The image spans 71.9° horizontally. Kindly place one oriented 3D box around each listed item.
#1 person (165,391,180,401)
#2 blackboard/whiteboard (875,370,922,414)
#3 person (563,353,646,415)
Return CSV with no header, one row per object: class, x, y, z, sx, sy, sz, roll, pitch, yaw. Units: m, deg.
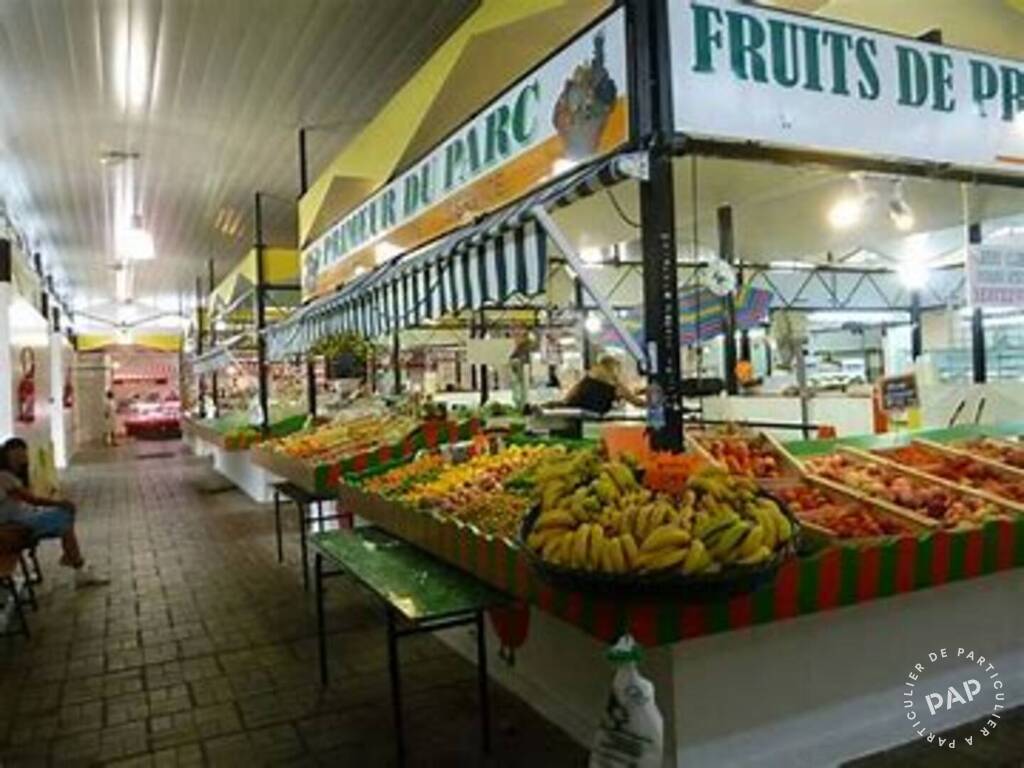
person,-15.239,0.571,31.817,0.578,0.272,0.840,0,14,-28
blackboard/whiteboard,3.154,0.058,5.800,0.412,0.303,0.244,-3,3,0
person,0.882,0.018,6.761,0.443,0.578,1.076,-5,4,-32
